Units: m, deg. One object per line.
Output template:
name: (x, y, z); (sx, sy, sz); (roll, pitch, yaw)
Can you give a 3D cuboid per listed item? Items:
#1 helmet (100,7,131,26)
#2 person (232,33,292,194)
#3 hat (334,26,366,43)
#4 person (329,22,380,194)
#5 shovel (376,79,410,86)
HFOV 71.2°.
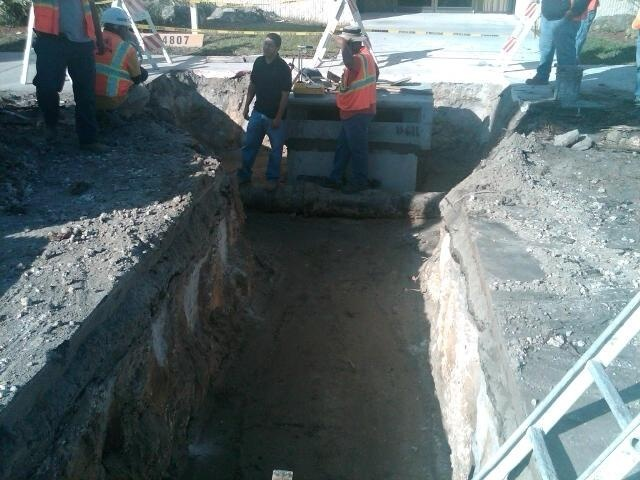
helmet: (-2.274, -2.502, 4.987); (0.226, 0.243, 0.276); (36, 42, 29)
person: (-0.779, -1.765, 6.175); (0.773, 1.971, 0.465); (0, 24, 0)
hat: (0.381, -2.693, 5.864); (0.320, 0.179, 0.542); (0, 25, 0)
person: (0.472, -1.771, 6.234); (0.676, 2.161, 0.668); (-1, 24, -2)
shovel: (1.182, -2.554, 7.213); (0.543, 0.095, 0.514); (2, 25, 3)
